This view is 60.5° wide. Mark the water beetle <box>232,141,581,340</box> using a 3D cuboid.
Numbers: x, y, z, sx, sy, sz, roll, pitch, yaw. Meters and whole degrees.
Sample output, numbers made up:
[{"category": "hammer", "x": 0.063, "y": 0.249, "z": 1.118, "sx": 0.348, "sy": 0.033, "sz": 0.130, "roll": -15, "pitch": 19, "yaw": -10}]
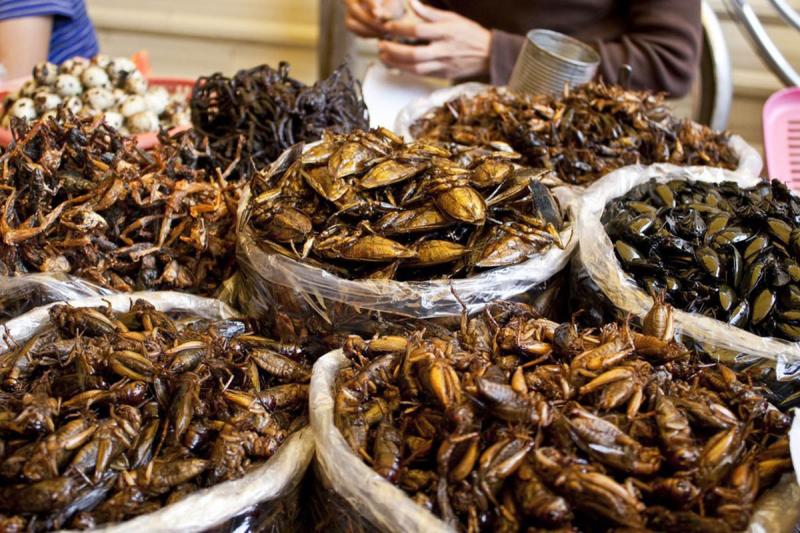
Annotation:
[{"category": "water beetle", "x": 0.015, "y": -0.109, "z": 2.176, "sx": 0.796, "sy": 0.314, "sz": 0.714, "roll": 7, "pitch": 33, "yaw": 10}]
